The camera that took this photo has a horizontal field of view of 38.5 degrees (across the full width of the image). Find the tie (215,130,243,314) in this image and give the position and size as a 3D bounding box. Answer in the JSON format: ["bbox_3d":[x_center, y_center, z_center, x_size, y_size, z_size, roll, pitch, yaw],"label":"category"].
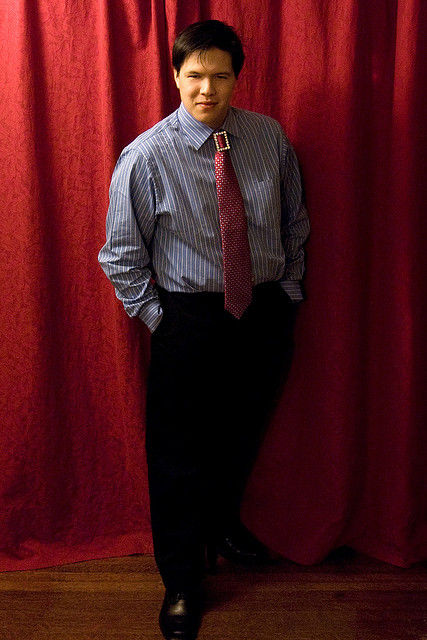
[{"bbox_3d":[0.036,-0.232,1.457,0.058,0.432,0.052,-2,9,-4],"label":"tie"}]

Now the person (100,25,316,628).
[{"bbox_3d":[0.002,0.023,1.606,0.280,1.442,0.523,8,13,44],"label":"person"}]

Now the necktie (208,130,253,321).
[{"bbox_3d":[0.044,-0.223,1.469,0.103,0.454,0.068,-3,9,-7],"label":"necktie"}]
